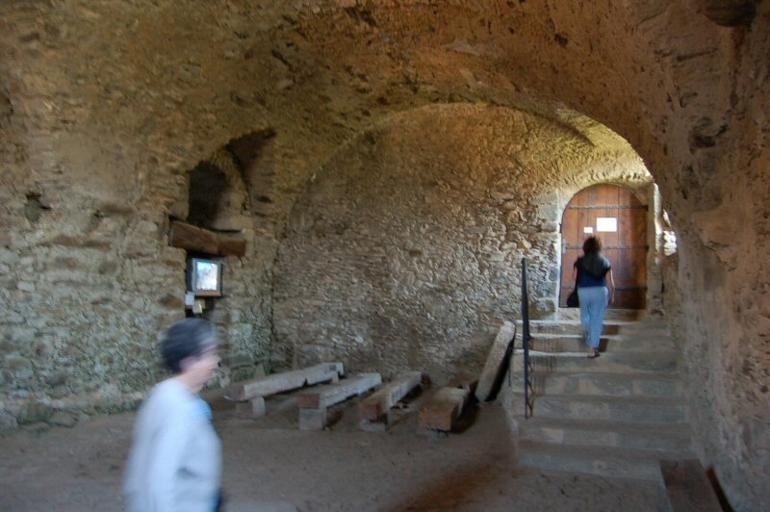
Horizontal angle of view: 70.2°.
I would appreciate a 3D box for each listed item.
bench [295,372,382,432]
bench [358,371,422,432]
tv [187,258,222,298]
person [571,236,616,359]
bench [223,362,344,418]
[{"bbox_3d":[-0.525,1.549,6.009,0.285,0.300,1.144,1,3,23],"label":"bench"},{"bbox_3d":[0.077,1.531,6.017,0.290,0.423,1.305,7,14,20],"label":"bench"},{"bbox_3d":[-2.322,0.284,6.862,0.288,0.455,0.559,-2,-6,26],"label":"tv"},{"bbox_3d":[2.121,0.408,5.663,0.377,1.196,0.291,14,18,42],"label":"person"},{"bbox_3d":[-1.119,1.377,6.441,0.482,0.447,1.828,0,2,34],"label":"bench"}]
